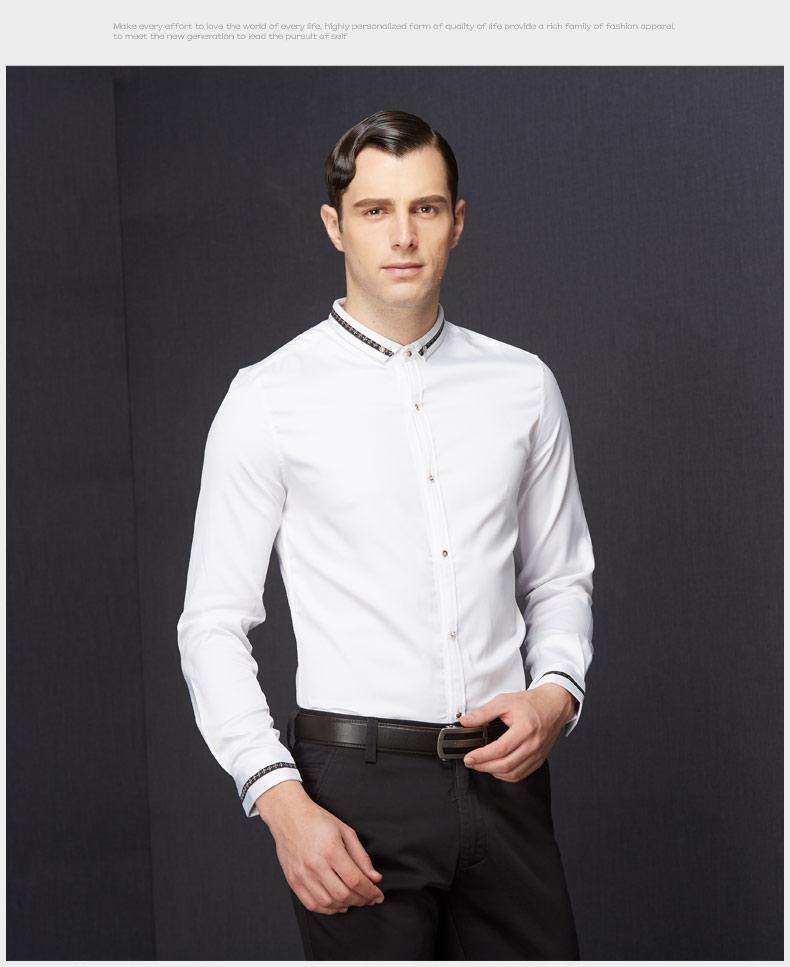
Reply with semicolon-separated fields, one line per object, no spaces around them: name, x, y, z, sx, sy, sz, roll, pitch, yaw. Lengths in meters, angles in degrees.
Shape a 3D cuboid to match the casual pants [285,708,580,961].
casual pants;0.048;0.555;1.662;0.451;0.522;0.227;5;-16;-35
